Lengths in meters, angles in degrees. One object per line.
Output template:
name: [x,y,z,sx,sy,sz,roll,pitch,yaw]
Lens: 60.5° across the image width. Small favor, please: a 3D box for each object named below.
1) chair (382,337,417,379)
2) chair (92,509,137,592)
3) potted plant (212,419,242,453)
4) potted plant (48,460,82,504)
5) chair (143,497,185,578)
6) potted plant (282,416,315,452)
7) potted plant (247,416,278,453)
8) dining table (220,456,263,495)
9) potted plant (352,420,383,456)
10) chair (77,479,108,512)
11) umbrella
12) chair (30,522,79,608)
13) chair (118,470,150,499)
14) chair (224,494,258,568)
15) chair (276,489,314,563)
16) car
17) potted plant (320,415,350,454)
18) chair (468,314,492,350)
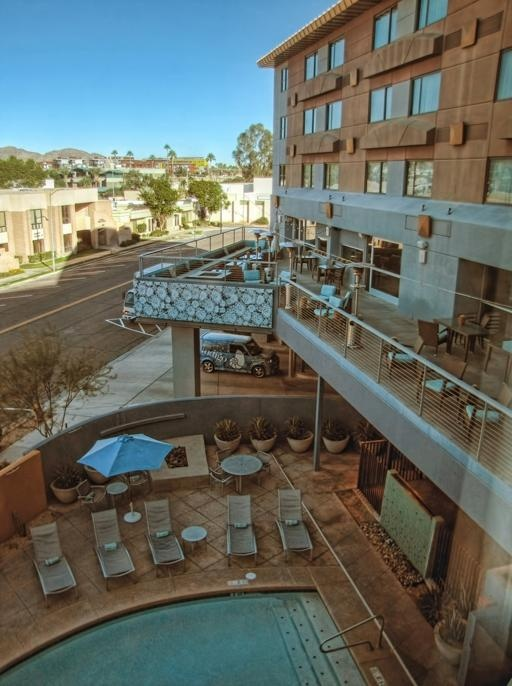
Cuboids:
chair: [2.739,0.231,8.433,0.654,0.903,0.697,2,23,6]
chair: [-3.208,4.620,10.039,0.633,0.957,1.963,-6,22,-14]
potted plant: [-1.023,3.283,15.781,1.003,1.205,1.002,-2,9,-19]
potted plant: [-5.479,3.997,12.660,0.889,0.999,0.991,3,7,-4]
chair: [-2.214,4.574,10.468,0.627,0.665,1.738,-6,25,-13]
potted plant: [1.478,3.220,15.400,1.045,1.131,1.134,1,4,18]
potted plant: [0.142,3.252,15.723,1.080,1.348,1.077,-2,9,-4]
dining table: [-0.461,3.928,13.244,1.164,0.820,1.326,0,11,-1]
potted plant: [3.833,3.255,15.490,0.929,0.955,0.629,10,15,42]
chair: [-4.575,4.354,12.357,0.781,0.818,0.658,5,29,10]
umbrella: [-3.340,2.855,11.379,1.564,0.727,1.545,-16,22,-41]
chair: [-4.386,4.773,9.481,0.700,0.947,1.959,-9,32,-22]
chair: [-3.558,4.148,12.899,0.870,0.837,0.872,-2,17,-7]
chair: [-0.390,4.524,10.627,0.496,0.535,1.538,-1,27,-2]
chair: [0.926,4.451,10.840,0.549,0.683,1.517,0,15,-4]
car: [-1.068,0.718,24.035,3.820,1.889,2.130,2,29,2]
potted plant: [2.776,3.169,15.571,1.022,1.108,1.112,-1,17,5]
chair: [5.000,-0.221,9.759,0.433,0.619,0.620,-4,26,3]
